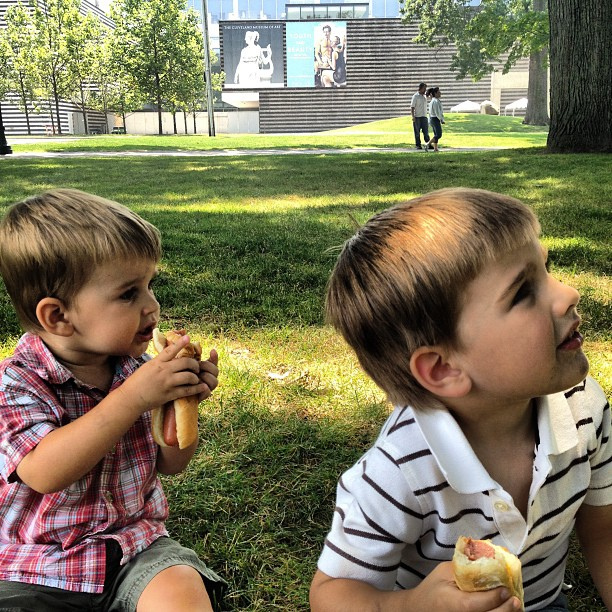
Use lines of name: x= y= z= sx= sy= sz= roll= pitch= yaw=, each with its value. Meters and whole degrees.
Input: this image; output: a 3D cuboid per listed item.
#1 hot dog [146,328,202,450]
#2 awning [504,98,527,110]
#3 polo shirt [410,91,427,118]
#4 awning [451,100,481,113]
hot dog: x=-0.430 y=0.253 z=1.641 sx=0.199 sy=0.335 sz=0.202 roll=6 pitch=3 yaw=0
awning: x=17.687 y=-16.898 z=46.313 sx=1.509 sy=0.998 sz=2.150 roll=2 pitch=13 yaw=17
polo shirt: x=3.620 y=-6.411 z=17.600 sx=0.464 sy=0.774 sz=0.574 roll=0 pitch=13 yaw=9
awning: x=12.661 y=-15.678 z=43.303 sx=2.099 sy=0.921 sz=1.431 roll=-7 pitch=14 yaw=-25
